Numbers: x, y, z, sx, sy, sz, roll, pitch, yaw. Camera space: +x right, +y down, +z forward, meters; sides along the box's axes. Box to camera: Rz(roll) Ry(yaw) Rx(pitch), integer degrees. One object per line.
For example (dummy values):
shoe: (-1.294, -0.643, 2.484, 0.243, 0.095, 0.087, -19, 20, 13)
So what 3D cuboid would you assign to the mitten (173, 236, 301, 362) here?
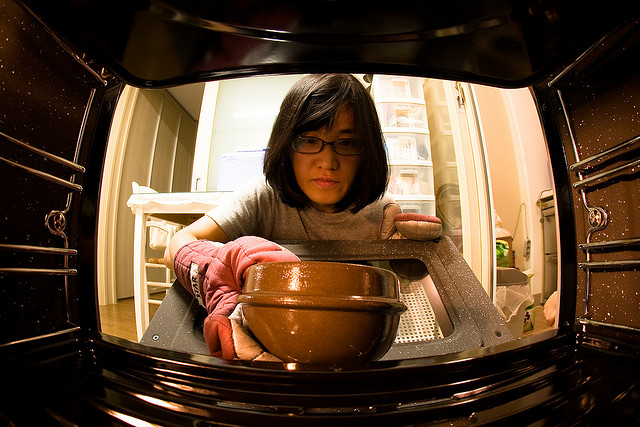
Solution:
mitten: (-0.154, 0.112, 0.656, 0.177, 0.246, 0.192, 5, 88, -30)

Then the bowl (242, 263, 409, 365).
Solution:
bowl: (0.006, 0.128, 0.494, 0.220, 0.126, 0.129, 3, 83, -2)
